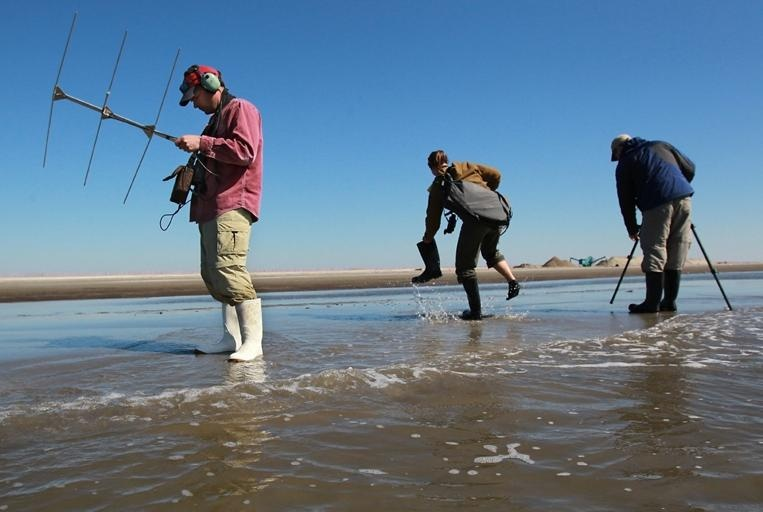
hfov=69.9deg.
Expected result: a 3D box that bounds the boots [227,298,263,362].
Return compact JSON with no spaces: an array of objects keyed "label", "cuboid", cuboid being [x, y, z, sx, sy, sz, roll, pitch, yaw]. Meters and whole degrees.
[{"label":"boots","cuboid":[-1.124,0.614,4.483,0.251,0.440,0.458,-3,10,-10]}]

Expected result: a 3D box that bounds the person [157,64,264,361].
[{"label":"person","cuboid":[-1.357,-0.369,4.579,0.763,2.471,1.075,-4,11,-13]}]

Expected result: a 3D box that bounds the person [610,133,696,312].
[{"label":"person","cuboid":[3.335,-0.353,6.776,0.886,2.251,1.150,3,11,24]}]

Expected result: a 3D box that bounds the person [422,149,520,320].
[{"label":"person","cuboid":[1.064,-0.190,6.672,1.239,2.140,0.981,-6,12,-25]}]
